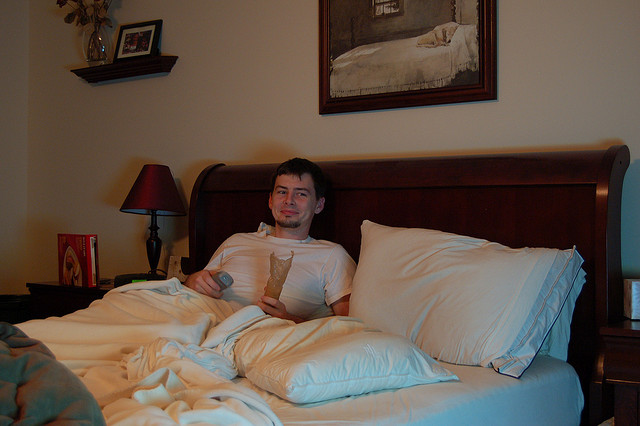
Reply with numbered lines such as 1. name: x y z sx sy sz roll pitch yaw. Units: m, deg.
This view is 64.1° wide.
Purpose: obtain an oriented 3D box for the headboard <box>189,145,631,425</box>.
1. headboard: 0.482 0.331 2.290 1.237 0.831 0.550 1 2 32

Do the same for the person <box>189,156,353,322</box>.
1. person: -0.239 0.159 2.806 0.706 0.672 0.500 9 -8 31

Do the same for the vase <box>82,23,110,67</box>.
1. vase: -1.690 -1.253 3.802 0.256 0.323 0.110 -2 0 33

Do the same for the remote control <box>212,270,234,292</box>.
1. remote control: -0.502 0.356 2.608 0.050 0.055 0.093 -38 0 -34
